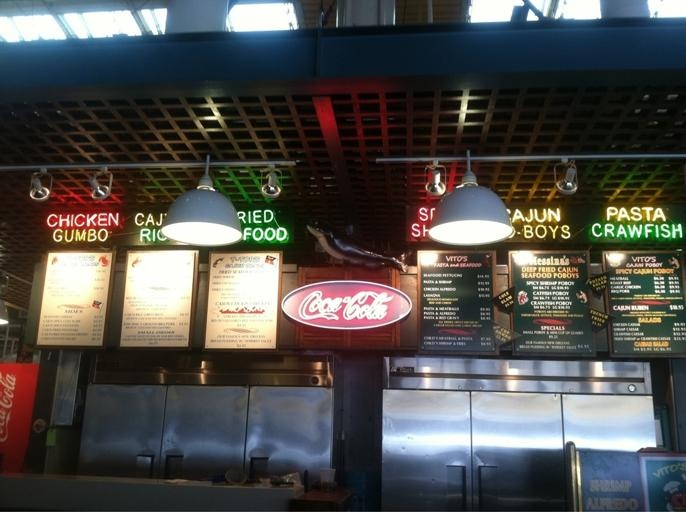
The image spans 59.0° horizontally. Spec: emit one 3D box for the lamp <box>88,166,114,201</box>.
[{"bbox_3d":[-1.873,-0.544,4.633,0.173,0.285,0.129,-11,18,-24],"label":"lamp"}]

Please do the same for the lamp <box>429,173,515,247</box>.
[{"bbox_3d":[0.823,-0.208,4.087,0.526,0.504,0.511,2,-24,0],"label":"lamp"}]

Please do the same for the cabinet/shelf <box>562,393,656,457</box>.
[{"bbox_3d":[2.282,1.461,5.518,0.928,0.518,0.495,2,-7,-8],"label":"cabinet/shelf"}]

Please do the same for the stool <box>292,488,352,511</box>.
[{"bbox_3d":[-0.150,1.784,4.405,0.343,0.168,0.550,-5,-16,18],"label":"stool"}]

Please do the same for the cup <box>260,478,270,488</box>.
[{"bbox_3d":[-0.595,1.715,4.574,0.113,0.074,0.059,-1,-25,-1],"label":"cup"}]

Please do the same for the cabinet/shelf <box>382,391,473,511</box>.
[{"bbox_3d":[0.749,1.749,5.280,0.819,1.331,0.731,1,-24,0],"label":"cabinet/shelf"}]

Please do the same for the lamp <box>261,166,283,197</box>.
[{"bbox_3d":[-0.546,-0.565,4.662,0.218,0.216,0.212,3,21,-2],"label":"lamp"}]

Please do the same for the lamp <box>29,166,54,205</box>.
[{"bbox_3d":[-2.351,-0.550,4.678,0.130,0.194,0.205,-14,23,-33],"label":"lamp"}]

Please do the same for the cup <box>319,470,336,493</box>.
[{"bbox_3d":[-0.102,1.663,4.470,0.143,0.144,0.134,4,-22,2],"label":"cup"}]

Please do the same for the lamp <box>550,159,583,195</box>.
[{"bbox_3d":[1.686,-0.576,4.467,0.192,0.135,0.184,-2,-51,-2],"label":"lamp"}]

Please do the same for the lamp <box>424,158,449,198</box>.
[{"bbox_3d":[0.685,-0.557,4.458,0.161,0.255,0.149,-2,15,6],"label":"lamp"}]

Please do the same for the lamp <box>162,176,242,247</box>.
[{"bbox_3d":[-0.927,-0.255,4.279,0.532,0.508,0.506,-1,-25,-3],"label":"lamp"}]
